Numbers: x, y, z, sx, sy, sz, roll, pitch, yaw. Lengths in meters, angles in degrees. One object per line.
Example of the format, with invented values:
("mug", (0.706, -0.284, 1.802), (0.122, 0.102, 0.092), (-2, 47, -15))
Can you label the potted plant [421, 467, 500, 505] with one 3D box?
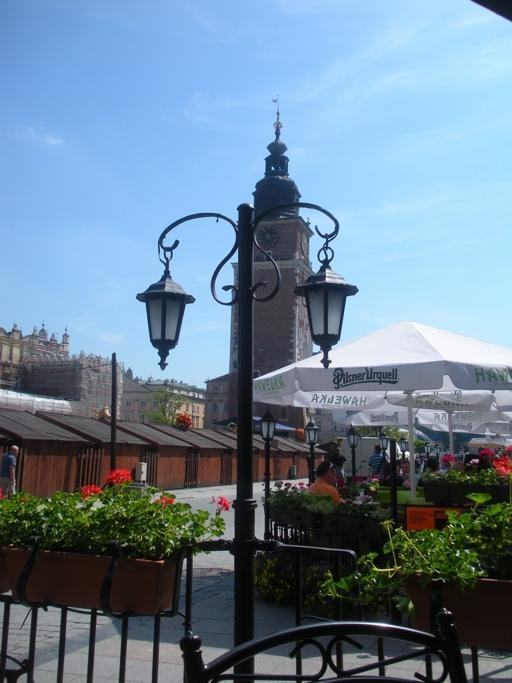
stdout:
("potted plant", (1.937, 1.366, 7.512), (0.771, 0.331, 0.601), (-1, -7, 11))

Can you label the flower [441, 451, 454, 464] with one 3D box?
("flower", (2.703, 1.635, 11.250), (0.230, 0.212, 0.211), (0, -10, 7))
